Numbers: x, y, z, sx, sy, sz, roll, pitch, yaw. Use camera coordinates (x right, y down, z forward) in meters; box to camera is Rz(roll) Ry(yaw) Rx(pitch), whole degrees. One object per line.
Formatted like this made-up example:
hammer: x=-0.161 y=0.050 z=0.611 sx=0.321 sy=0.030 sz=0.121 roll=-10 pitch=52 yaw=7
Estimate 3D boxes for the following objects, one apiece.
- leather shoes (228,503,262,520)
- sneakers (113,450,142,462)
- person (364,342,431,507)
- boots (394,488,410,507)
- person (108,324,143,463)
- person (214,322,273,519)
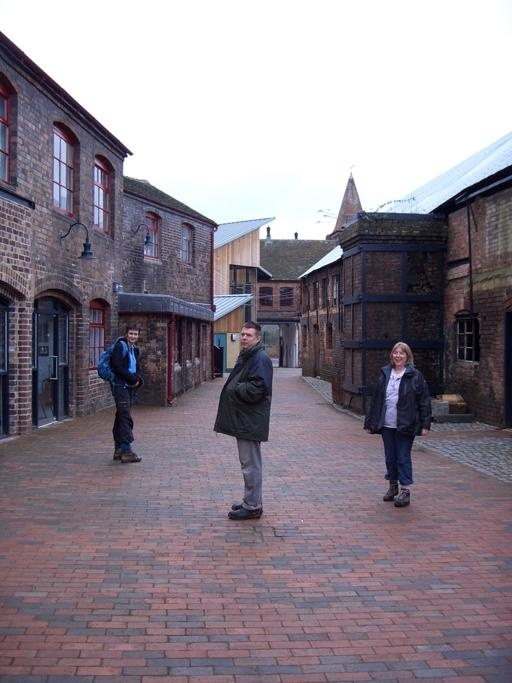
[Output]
leather shoes: x=-0.104 y=1.484 z=5.758 sx=0.337 sy=0.146 sz=0.113 roll=7 pitch=-3 yaw=-7
sneakers: x=-1.655 y=1.471 z=8.408 sx=0.270 sy=0.123 sz=0.167 roll=-1 pitch=1 yaw=-21
person: x=1.443 y=0.809 z=6.499 sx=0.475 sy=1.581 sz=0.646 roll=2 pitch=-1 yaw=-32
boots: x=1.414 y=1.512 z=6.298 sx=0.088 sy=0.117 sz=0.261 roll=-4 pitch=-12 yaw=17
person: x=-1.692 y=0.691 z=8.434 sx=0.381 sy=1.482 sz=0.427 roll=1 pitch=-1 yaw=6
person: x=-0.125 y=0.689 z=5.833 sx=0.505 sy=1.317 sz=0.468 roll=1 pitch=-1 yaw=-1
